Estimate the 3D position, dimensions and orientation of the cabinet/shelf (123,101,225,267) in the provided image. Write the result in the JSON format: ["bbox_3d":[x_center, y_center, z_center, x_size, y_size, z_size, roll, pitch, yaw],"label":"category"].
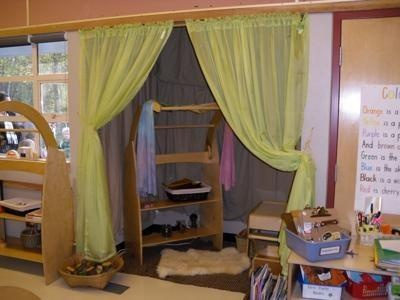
[{"bbox_3d":[-0.276,0.341,4.399,0.976,1.931,0.870,-1,8,-11],"label":"cabinet/shelf"}]

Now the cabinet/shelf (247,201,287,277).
[{"bbox_3d":[0.769,0.957,3.926,0.432,0.858,0.785,1,3,26],"label":"cabinet/shelf"}]

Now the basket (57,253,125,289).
[{"bbox_3d":[-1.118,1.284,3.569,0.368,0.132,0.397,1,2,2],"label":"basket"}]
